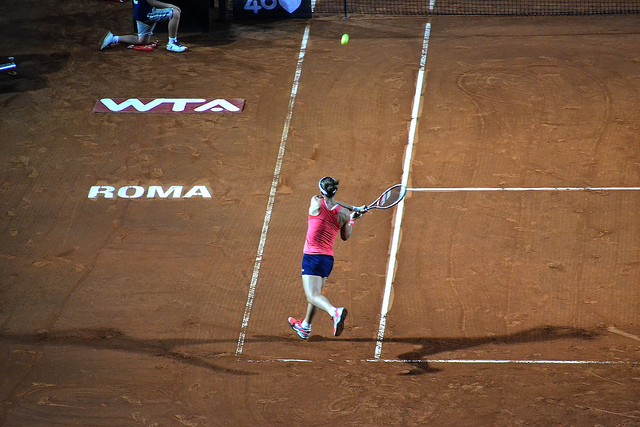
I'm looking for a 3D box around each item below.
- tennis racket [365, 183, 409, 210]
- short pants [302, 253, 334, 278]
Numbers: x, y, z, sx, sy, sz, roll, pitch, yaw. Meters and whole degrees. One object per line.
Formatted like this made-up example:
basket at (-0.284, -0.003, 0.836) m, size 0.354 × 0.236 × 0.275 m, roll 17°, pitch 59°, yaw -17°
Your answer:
tennis racket at (1.231, -0.337, 10.695) m, size 1.069 × 0.298 × 0.077 m, roll -24°, pitch 53°, yaw -26°
short pants at (-0.049, 0.826, 10.235) m, size 0.689 × 0.395 × 0.424 m, roll 5°, pitch -2°, yaw -28°
